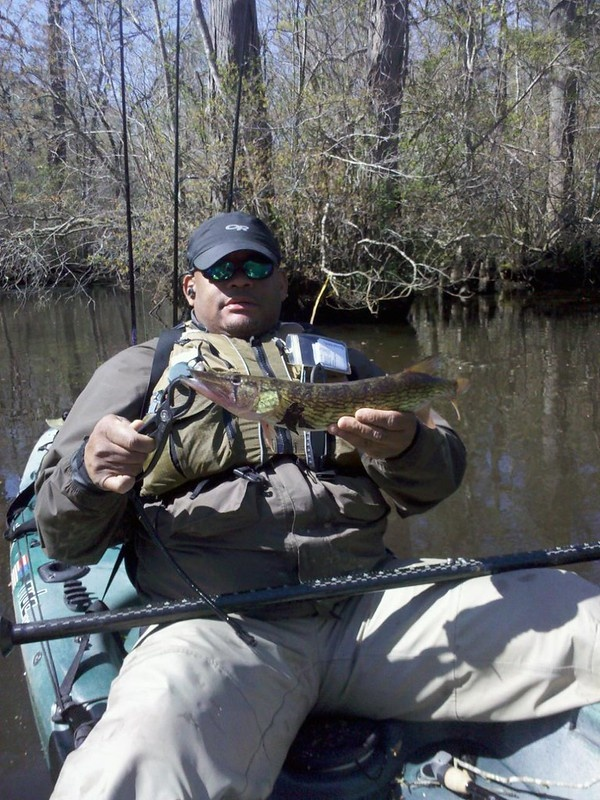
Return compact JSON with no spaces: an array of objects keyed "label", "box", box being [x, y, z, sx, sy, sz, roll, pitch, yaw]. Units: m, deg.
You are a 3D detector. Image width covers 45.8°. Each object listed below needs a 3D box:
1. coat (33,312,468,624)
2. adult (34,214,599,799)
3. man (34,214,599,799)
[{"label":"coat","box":[-0.150,0.186,2.265,1.353,0.887,0.767,-6,-10,-18]},{"label":"adult","box":[0.118,0.554,2.442,1.359,1.614,1.359,-4,-34,-13]},{"label":"man","box":[0.105,0.589,2.496,1.359,1.614,1.359,-4,-34,-13]}]
